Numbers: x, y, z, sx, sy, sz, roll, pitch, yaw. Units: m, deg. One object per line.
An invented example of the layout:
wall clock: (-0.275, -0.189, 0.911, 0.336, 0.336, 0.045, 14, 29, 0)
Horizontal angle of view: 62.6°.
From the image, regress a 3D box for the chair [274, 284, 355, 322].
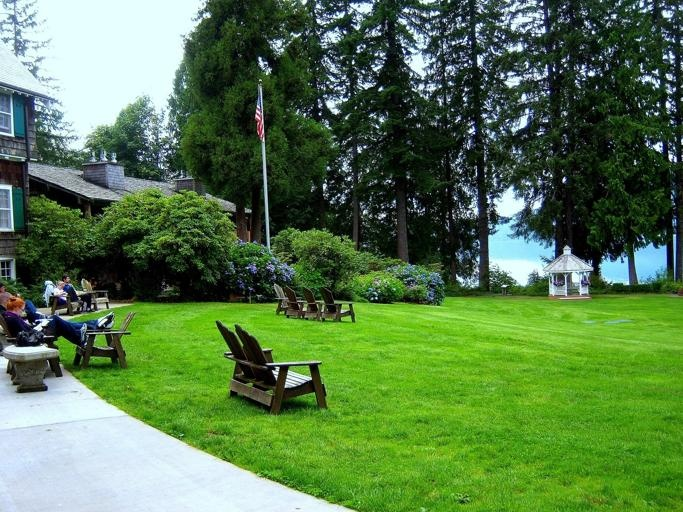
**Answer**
chair: (-0.858, 1.469, 17.849, 1.166, 1.076, 3.019, 2, -3, -45)

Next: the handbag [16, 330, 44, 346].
handbag: (-5.627, 1.488, 10.152, 0.290, 0.182, 0.394, 5, -5, -37)

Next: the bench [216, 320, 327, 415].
bench: (-1.187, 1.809, 9.317, 1.177, 1.343, 1.998, 1, -2, -30)

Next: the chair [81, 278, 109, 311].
chair: (-8.776, 1.350, 20.045, 0.785, 1.079, 0.820, -4, -1, 36)

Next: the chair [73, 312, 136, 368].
chair: (-4.756, 1.691, 11.449, 1.053, 1.126, 0.987, 2, -4, -37)
